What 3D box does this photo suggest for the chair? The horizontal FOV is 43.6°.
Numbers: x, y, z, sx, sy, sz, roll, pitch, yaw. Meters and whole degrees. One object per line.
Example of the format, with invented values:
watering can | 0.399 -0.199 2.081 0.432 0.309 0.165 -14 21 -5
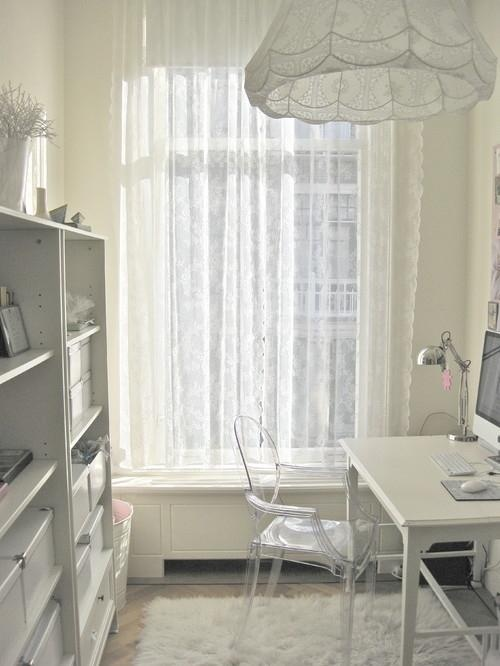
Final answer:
chair | 0.209 0.704 2.551 0.617 1.134 0.740 0 5 14
